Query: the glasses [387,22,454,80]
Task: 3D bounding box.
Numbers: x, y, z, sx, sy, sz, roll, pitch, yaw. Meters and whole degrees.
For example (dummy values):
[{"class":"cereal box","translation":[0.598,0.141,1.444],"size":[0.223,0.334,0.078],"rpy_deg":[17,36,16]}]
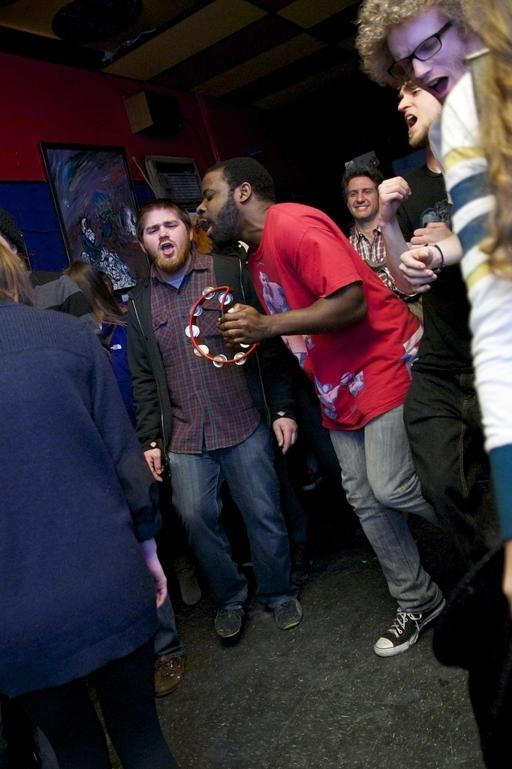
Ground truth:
[{"class":"glasses","translation":[0.447,-0.888,1.455],"size":[0.147,0.044,0.145],"rpy_deg":[-47,14,-21]}]
